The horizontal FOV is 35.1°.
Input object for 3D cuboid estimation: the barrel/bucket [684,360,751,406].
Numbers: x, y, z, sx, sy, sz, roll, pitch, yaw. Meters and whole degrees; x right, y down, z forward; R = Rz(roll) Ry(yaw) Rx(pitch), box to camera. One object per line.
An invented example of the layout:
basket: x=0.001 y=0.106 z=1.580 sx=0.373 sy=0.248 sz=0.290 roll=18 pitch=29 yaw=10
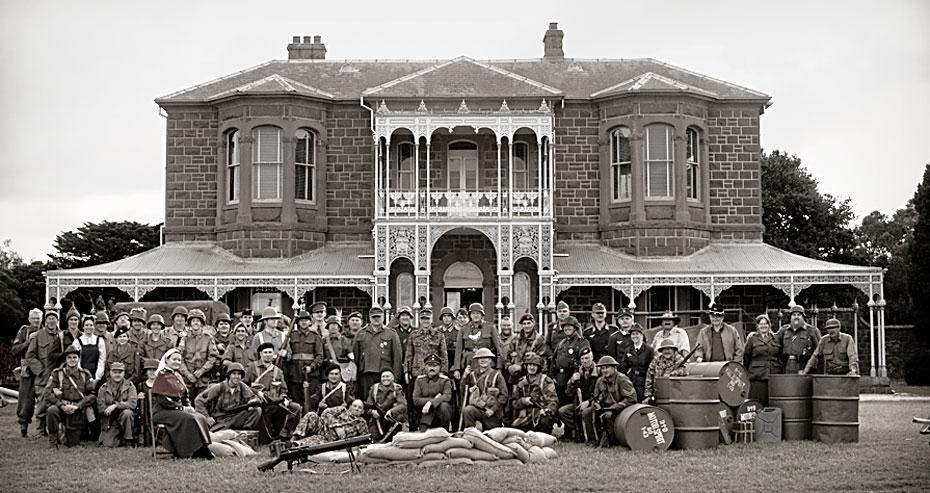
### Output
barrel/bucket: x=9.055 y=4.668 z=52.267 sx=1.962 sy=1.697 sz=1.822 roll=22 pitch=-14 yaw=6

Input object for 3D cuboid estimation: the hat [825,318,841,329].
hat: x=13.386 y=2.754 z=53.240 sx=0.385 sy=0.225 sz=0.514 roll=-14 pitch=-22 yaw=33

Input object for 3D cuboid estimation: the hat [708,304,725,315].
hat: x=9.341 y=2.275 z=54.236 sx=0.610 sy=0.285 sz=0.781 roll=2 pitch=-10 yaw=6

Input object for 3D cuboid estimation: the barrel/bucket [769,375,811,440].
barrel/bucket: x=10.757 y=5.682 z=53.155 sx=2.216 sy=2.857 sz=2.066 roll=0 pitch=-2 yaw=0

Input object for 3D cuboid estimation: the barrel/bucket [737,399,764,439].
barrel/bucket: x=9.881 y=6.187 z=52.303 sx=1.327 sy=1.247 sz=1.269 roll=0 pitch=-4 yaw=0

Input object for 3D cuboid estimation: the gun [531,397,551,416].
gun: x=2.815 y=5.732 z=52.406 sx=0.651 sy=0.219 sz=0.493 roll=38 pitch=36 yaw=20

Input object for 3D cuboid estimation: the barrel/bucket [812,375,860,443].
barrel/bucket: x=13.123 y=5.718 z=51.905 sx=1.532 sy=2.381 sz=0.562 roll=0 pitch=-6 yaw=0

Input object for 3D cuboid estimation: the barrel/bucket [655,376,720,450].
barrel/bucket: x=8.147 y=5.902 z=52.289 sx=2.569 sy=2.342 sz=2.423 roll=0 pitch=-6 yaw=0

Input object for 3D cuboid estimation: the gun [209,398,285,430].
gun: x=-7.271 y=5.654 z=52.472 sx=2.251 sy=0.667 sz=0.839 roll=1 pitch=-19 yaw=-3

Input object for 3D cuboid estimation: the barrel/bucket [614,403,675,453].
barrel/bucket: x=6.318 y=6.246 z=51.114 sx=2.649 sy=1.400 sz=0.785 roll=1 pitch=0 yaw=-25
